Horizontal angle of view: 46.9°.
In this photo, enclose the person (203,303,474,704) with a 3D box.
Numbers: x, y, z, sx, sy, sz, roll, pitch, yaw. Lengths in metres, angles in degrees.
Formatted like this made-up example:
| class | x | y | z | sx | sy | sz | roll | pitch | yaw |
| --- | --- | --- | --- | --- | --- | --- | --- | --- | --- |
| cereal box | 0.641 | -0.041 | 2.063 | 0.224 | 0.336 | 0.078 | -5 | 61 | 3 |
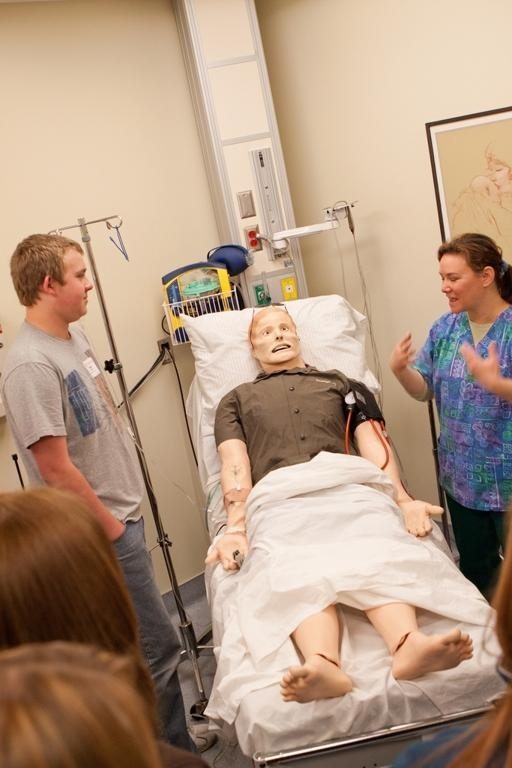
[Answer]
| class | x | y | z | sx | sy | sz | roll | pitch | yaw |
| --- | --- | --- | --- | --- | --- | --- | --- | --- | --- |
| person | 0.169 | 0.324 | 1.904 | 0.541 | 0.279 | 1.180 | -9 | 46 | 2 |
